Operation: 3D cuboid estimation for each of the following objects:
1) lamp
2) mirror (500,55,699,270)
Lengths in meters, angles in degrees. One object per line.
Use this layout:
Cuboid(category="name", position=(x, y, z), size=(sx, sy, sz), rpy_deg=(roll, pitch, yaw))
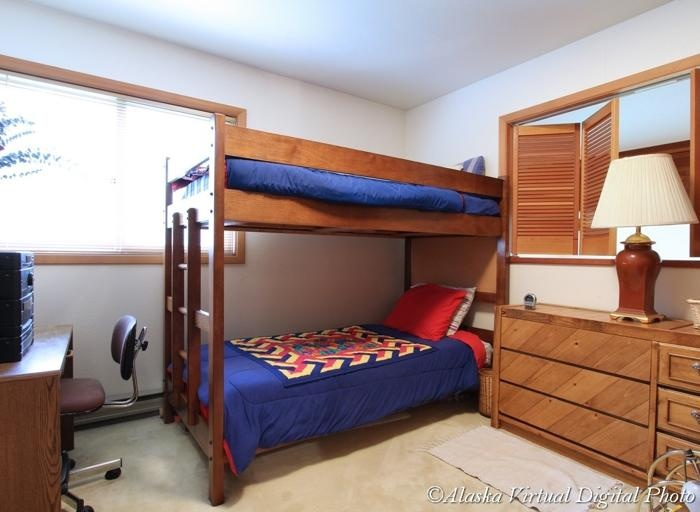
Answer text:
Cuboid(category="lamp", position=(1.977, -0.121, 3.382), size=(0.591, 1.124, 0.279), rpy_deg=(10, 12, 34))
Cuboid(category="mirror", position=(1.959, -0.729, 3.819), size=(0.135, 1.427, 1.730), rpy_deg=(4, -5, -32))
